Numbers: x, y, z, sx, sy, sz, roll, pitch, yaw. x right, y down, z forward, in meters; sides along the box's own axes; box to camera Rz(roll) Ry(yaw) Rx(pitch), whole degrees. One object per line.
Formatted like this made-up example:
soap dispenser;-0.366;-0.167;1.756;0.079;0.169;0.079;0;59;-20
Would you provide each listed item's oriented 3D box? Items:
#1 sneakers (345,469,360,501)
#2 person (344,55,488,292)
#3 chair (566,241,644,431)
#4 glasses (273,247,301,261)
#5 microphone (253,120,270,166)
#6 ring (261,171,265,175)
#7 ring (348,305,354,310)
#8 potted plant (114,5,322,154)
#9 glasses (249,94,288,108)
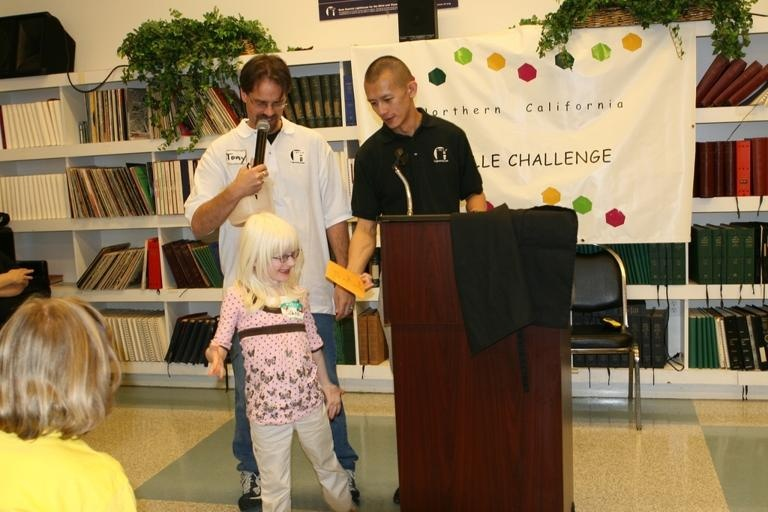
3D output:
sneakers;-0.178;1.347;4.311;0.080;0.101;0.237;-1;-12;1
person;0.174;-0.528;4.189;0.802;1.196;0.282;-2;6;-5
chair;1.556;0.539;5.133;0.460;1.184;0.723;0;6;15
glasses;-0.492;-0.009;3.794;0.072;0.067;0.182;2;7;32
microphone;-0.661;-0.613;3.947;0.093;0.253;0.269;-3;6;-9
ring;-0.635;-0.434;3.830;0.011;0.013;0.022;19;13;-16
ring;-0.186;0.290;4.117;0.029;0.040;0.036;-3;-5;0
potted plant;-1.287;-1.122;5.840;1.048;1.080;1.475;2;7;27
glasses;-0.635;-0.836;3.959;0.203;0.067;0.087;-3;6;-11
